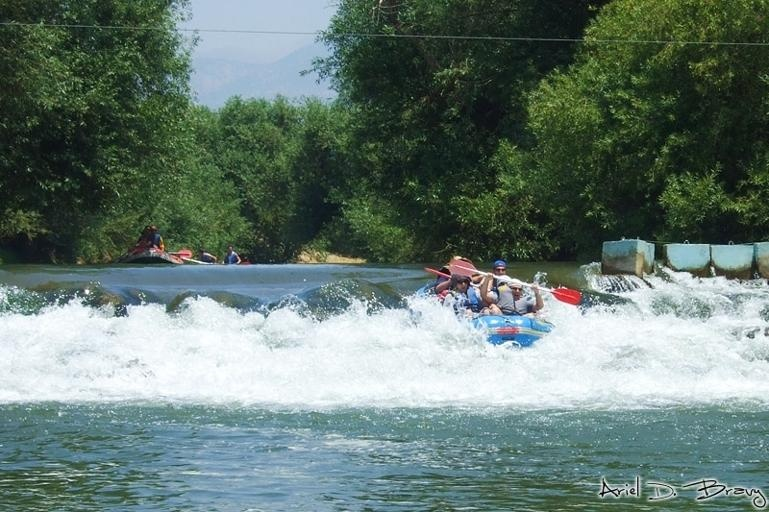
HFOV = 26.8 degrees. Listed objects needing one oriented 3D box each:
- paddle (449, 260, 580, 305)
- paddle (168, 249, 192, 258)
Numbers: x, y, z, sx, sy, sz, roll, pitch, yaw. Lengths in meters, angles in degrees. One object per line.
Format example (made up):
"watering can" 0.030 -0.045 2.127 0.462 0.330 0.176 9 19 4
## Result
"paddle" 3.822 0.802 47.357 4.505 0.574 0.358 14 -2 -5
"paddle" -7.684 -0.091 60.037 1.037 0.337 0.581 -2 1 10
